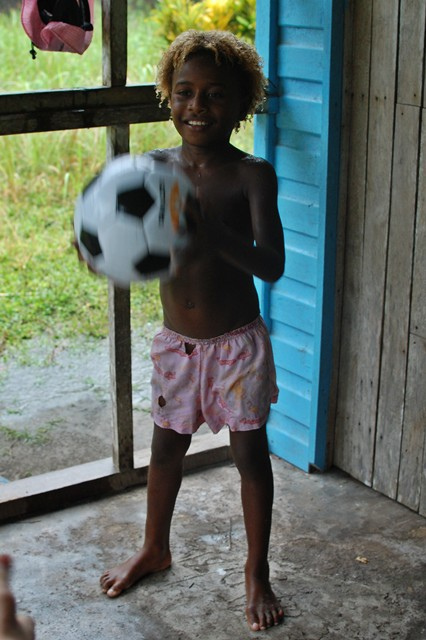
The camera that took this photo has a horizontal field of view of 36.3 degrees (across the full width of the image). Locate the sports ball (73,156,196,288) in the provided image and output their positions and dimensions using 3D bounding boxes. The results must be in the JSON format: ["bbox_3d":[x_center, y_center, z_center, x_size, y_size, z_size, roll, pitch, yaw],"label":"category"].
[{"bbox_3d":[-0.160,-0.214,1.384,0.268,0.262,0.224,-3,14,-12],"label":"sports ball"}]

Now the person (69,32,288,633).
[{"bbox_3d":[-0.064,0.057,1.641,0.527,1.511,0.610,5,15,21],"label":"person"}]
